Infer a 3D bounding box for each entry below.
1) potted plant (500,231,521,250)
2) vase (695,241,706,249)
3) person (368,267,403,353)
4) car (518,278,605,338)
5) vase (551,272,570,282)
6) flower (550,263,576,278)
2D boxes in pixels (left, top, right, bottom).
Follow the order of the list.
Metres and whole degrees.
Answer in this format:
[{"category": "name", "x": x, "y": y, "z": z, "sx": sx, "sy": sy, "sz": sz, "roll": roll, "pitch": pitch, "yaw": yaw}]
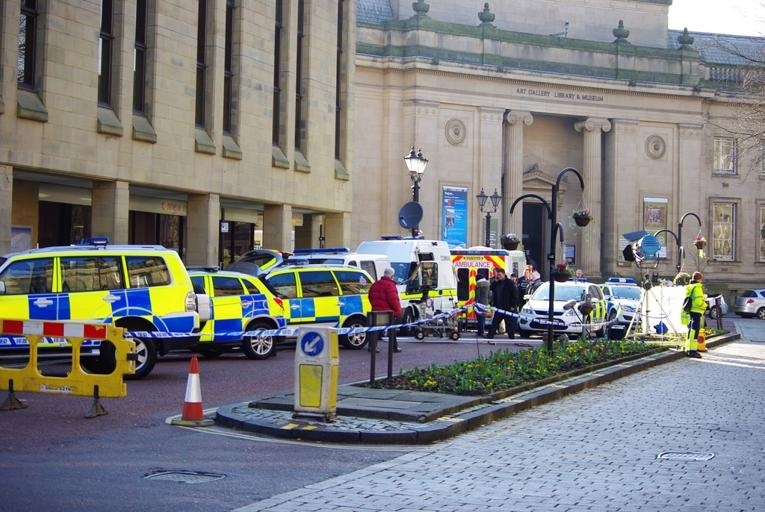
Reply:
[{"category": "potted plant", "x": 3.864, "y": -0.463, "z": 32.101, "sx": 0.667, "sy": 0.440, "sz": 0.654, "roll": 0, "pitch": -4, "yaw": 9}, {"category": "vase", "x": 13.710, "y": -0.528, "z": 45.388, "sx": 0.479, "sy": 0.430, "sz": 0.459, "roll": -1, "pitch": -3, "yaw": 6}, {"category": "person", "x": 0.090, "y": 1.163, "z": 26.518, "sx": 0.752, "sy": 1.801, "sz": 0.698, "roll": -1, "pitch": -1, "yaw": -4}, {"category": "car", "x": 6.290, "y": 1.828, "z": 36.178, "sx": 1.890, "sy": 1.881, "sz": 3.911, "roll": 1, "pitch": 0, "yaw": 40}, {"category": "vase", "x": 4.999, "y": 0.577, "z": 29.499, "sx": 0.241, "sy": 0.313, "sz": 0.638, "roll": 7, "pitch": 10, "yaw": 29}, {"category": "flower", "x": 5.109, "y": 0.457, "z": 29.747, "sx": 0.836, "sy": 0.554, "sz": 0.788, "roll": 0, "pitch": -4, "yaw": -2}]
